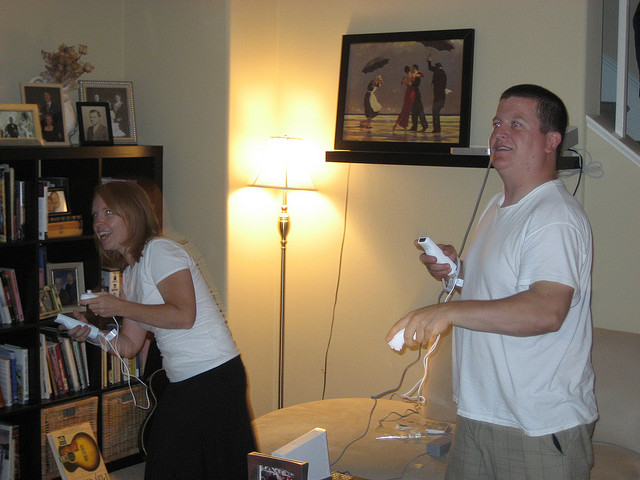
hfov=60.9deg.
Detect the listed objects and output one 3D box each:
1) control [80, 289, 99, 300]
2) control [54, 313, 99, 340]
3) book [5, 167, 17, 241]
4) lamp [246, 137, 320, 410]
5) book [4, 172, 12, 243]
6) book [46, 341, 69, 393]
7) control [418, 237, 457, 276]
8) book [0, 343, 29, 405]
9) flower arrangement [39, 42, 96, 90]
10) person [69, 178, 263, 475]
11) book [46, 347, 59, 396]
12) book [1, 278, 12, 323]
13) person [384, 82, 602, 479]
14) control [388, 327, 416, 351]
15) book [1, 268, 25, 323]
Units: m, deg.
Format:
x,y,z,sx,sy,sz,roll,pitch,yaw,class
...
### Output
x,y,z,sx,sy,sz,roll,pitch,yaw,class
-0.858,0.203,2.010,0.075,0.041,0.057,2,-3,-26,control
-0.960,0.335,2.153,0.149,0.111,0.090,-4,7,-25,control
-1.671,-0.196,2.925,0.050,0.464,0.346,-2,6,-29,book
-0.239,0.238,3.765,0.504,1.859,0.326,-2,7,-14,lamp
-1.678,-0.179,2.914,0.040,0.366,0.029,-5,8,-35,book
-1.522,0.750,3.194,0.052,0.233,0.227,-6,8,-10,book
0.389,0.055,1.796,0.128,0.129,0.056,1,7,11,control
-1.710,0.760,3.037,0.053,0.390,0.332,-1,1,-40,book
-1.588,-1.076,3.395,0.297,0.273,0.072,-4,7,-23,flower arrangement
-0.581,0.329,2.062,0.618,1.100,0.342,2,7,22,person
-1.560,0.763,3.157,0.047,0.287,0.014,-5,8,-29,book
-1.709,0.336,2.957,0.018,0.224,0.044,3,8,29,book
0.571,0.169,1.655,0.562,1.300,0.536,1,7,14,person
0.216,0.276,1.520,0.043,0.067,0.030,0,7,8,control
-1.672,0.299,2.986,0.053,0.233,0.225,-11,14,-13,book
